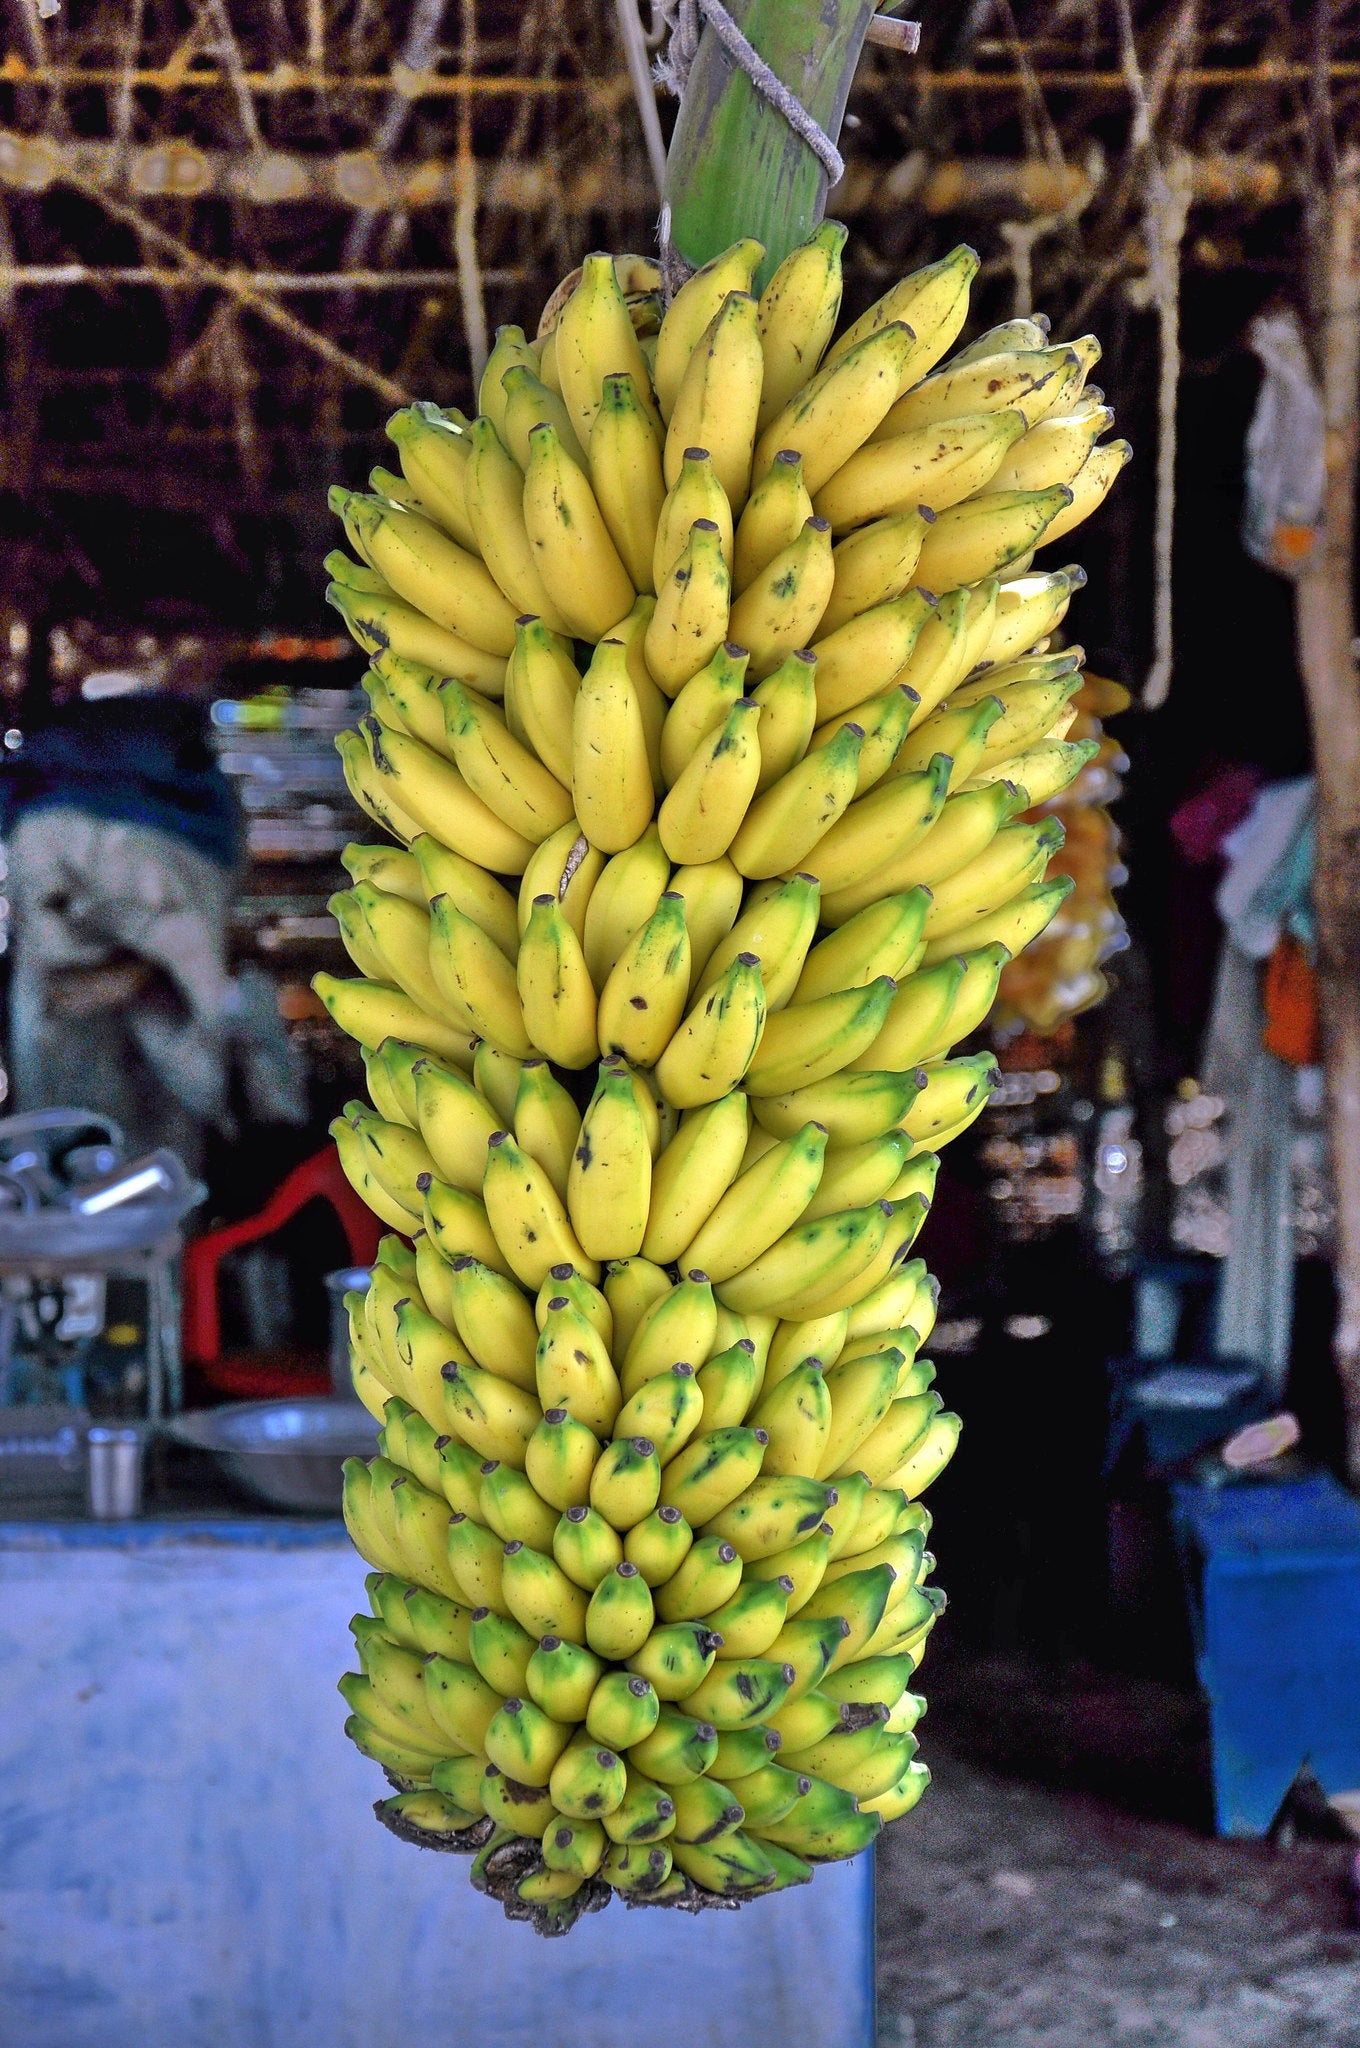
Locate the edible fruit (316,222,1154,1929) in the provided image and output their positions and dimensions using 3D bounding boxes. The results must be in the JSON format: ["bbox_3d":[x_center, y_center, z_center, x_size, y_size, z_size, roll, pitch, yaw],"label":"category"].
[{"bbox_3d":[0.051,0.011,1.676,0.632,1.275,0.328,-1,-5,-9],"label":"edible fruit"}]
